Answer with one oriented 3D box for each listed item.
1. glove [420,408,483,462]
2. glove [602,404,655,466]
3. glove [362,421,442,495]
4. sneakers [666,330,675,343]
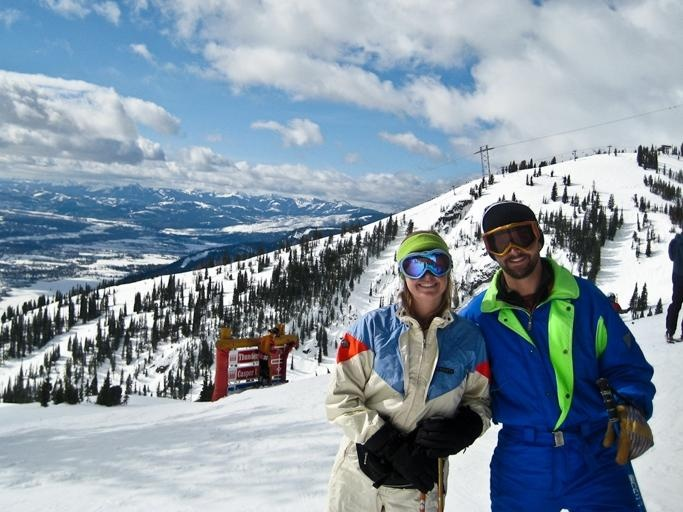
[{"bbox_3d":[1.331,2.231,7.093,0.647,0.568,0.306,-15,-13,-18],"label":"glove"},{"bbox_3d":[3.414,2.143,6.827,0.549,0.749,0.150,-6,-2,2],"label":"glove"},{"bbox_3d":[0.676,2.551,6.930,0.919,0.740,0.384,34,-28,16],"label":"glove"},{"bbox_3d":[8.241,2.065,14.196,0.192,0.262,0.256,-1,-14,11],"label":"sneakers"}]
